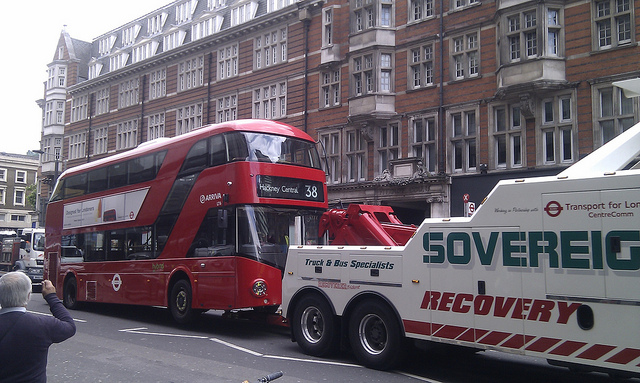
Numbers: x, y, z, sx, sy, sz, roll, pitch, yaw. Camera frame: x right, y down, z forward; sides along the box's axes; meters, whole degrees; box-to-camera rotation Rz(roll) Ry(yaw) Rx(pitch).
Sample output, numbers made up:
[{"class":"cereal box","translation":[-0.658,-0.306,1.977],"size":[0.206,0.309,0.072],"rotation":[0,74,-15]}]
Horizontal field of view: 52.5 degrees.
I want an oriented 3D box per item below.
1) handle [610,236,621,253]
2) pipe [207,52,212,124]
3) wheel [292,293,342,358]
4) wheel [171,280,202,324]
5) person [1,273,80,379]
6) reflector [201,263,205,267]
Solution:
[{"class":"handle","translation":[6.611,1.180,14.559],"size":[0.218,0.366,0.046],"rotation":[1,2,17]},{"class":"pipe","translation":[-7.450,-7.020,43.787],"size":[0.300,4.776,0.991],"rotation":[0,2,-9]},{"class":"wheel","translation":[-0.037,3.677,17.863],"size":[1.768,1.773,0.621],"rotation":[-2,-6,38]},{"class":"wheel","translation":[-4.407,3.569,21.415],"size":[0.388,1.092,1.111],"rotation":[8,-51,-42]},{"class":"person","translation":[-5.535,2.589,12.591],"size":[1.172,2.032,0.426],"rotation":[0,2,-24]},{"class":"reflector","translation":[-3.757,2.353,20.808],"size":[0.129,0.124,0.049],"rotation":[0,-3,16]}]
